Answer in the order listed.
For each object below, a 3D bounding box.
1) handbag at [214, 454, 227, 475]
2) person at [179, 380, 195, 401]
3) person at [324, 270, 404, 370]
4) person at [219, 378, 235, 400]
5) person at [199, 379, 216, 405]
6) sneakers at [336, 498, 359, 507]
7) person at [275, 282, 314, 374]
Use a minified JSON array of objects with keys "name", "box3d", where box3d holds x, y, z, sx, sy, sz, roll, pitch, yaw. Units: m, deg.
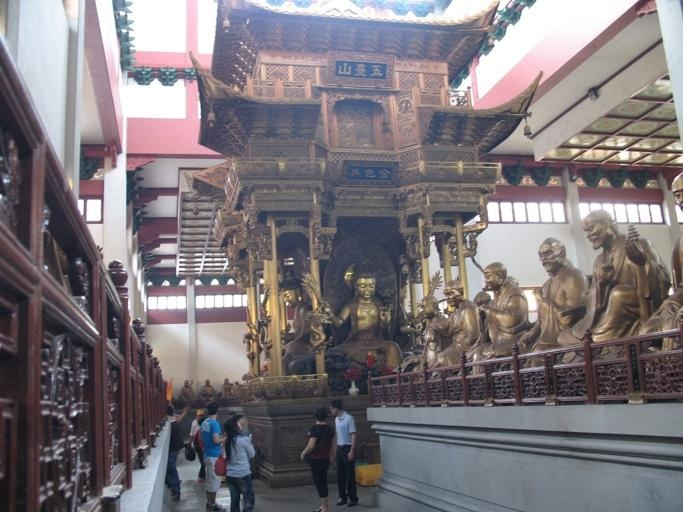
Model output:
[{"name":"handbag","box3d":[-1.077,1.855,5.228,0.087,0.172,0.114,1,-12,-13]},{"name":"person","box3d":[-5.594,4.885,21.320,0.473,0.762,0.772,-1,-12,-6]},{"name":"person","box3d":[0.350,0.947,9.151,1.046,1.695,0.856,0,-12,-11]},{"name":"person","box3d":[-4.137,4.834,21.379,0.495,0.781,0.783,3,-13,-22]},{"name":"person","box3d":[-4.862,4.944,21.342,0.572,0.918,0.917,1,-12,-13]},{"name":"sneakers","box3d":[0.059,2.494,5.953,0.228,0.102,0.079,7,-16,-12]},{"name":"person","box3d":[-0.719,1.106,9.074,0.534,1.701,0.761,2,-23,-7]}]
